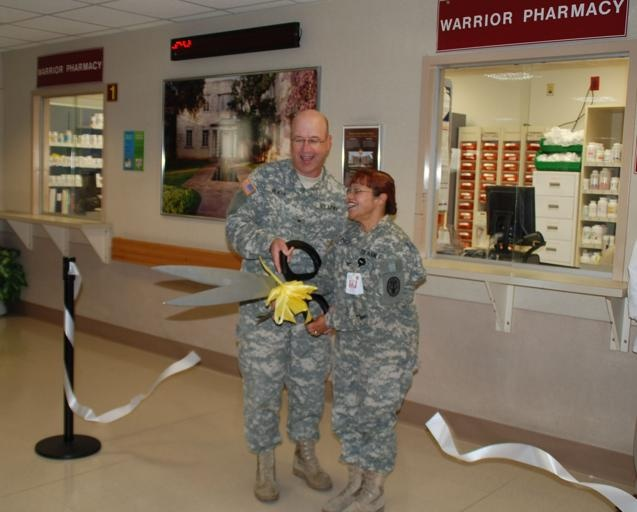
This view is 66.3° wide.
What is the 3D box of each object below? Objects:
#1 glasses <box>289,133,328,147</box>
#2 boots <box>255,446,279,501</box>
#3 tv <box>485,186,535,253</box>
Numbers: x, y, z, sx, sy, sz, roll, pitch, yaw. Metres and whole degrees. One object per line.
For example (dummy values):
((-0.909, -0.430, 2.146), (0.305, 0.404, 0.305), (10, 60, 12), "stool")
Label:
((-0.036, -0.577, 2.431), (0.204, 0.061, 0.113), (1, 6, -11), "glasses")
((-0.293, 1.213, 2.721), (0.120, 0.260, 0.247), (7, -6, -21), "boots")
((1.422, -0.254, 3.573), (0.411, 0.668, 0.230), (0, -7, 16), "tv")
